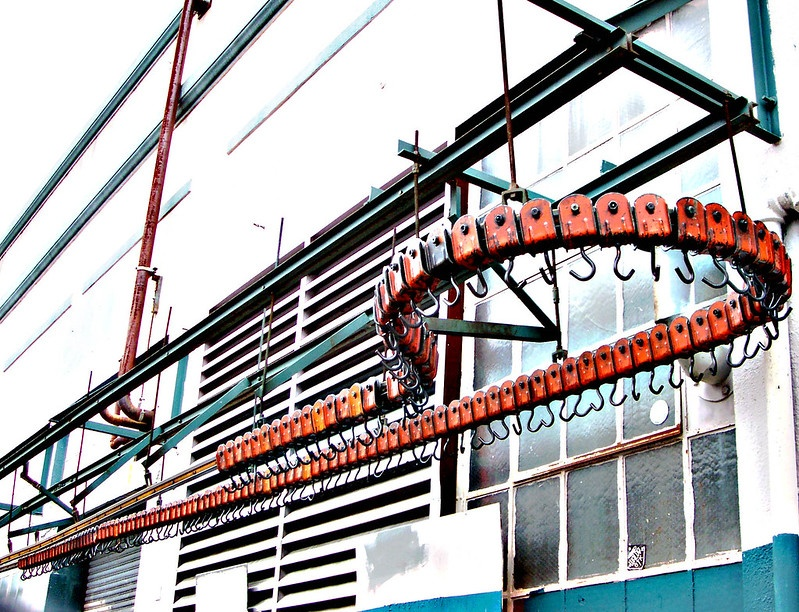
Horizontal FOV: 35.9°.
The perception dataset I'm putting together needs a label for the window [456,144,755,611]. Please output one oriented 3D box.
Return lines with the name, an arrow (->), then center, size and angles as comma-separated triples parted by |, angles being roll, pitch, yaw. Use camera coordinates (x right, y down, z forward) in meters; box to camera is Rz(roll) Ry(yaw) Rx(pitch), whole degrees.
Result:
window -> 1.979, 0.781, 11.346 | 0.189, 4.311, 3.236 | 18, -27, -39
